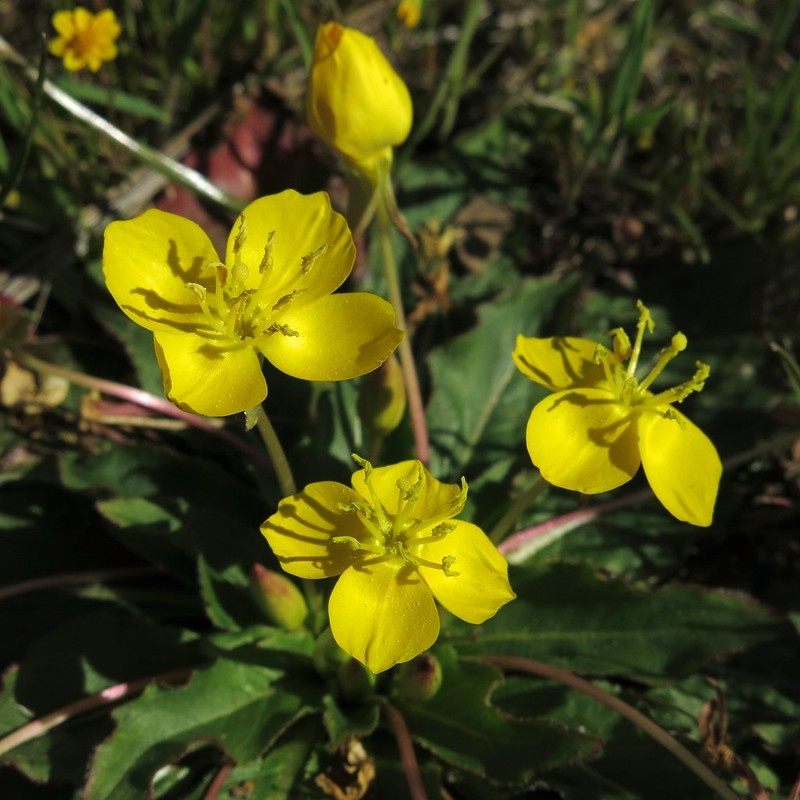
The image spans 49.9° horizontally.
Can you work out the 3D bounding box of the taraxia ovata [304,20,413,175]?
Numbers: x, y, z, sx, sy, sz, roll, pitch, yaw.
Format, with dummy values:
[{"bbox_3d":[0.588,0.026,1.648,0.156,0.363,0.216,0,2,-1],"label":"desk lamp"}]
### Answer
[{"bbox_3d":[-0.059,-0.399,1.166,0.152,0.204,0.089,13,60,-9],"label":"taraxia ovata"}]
